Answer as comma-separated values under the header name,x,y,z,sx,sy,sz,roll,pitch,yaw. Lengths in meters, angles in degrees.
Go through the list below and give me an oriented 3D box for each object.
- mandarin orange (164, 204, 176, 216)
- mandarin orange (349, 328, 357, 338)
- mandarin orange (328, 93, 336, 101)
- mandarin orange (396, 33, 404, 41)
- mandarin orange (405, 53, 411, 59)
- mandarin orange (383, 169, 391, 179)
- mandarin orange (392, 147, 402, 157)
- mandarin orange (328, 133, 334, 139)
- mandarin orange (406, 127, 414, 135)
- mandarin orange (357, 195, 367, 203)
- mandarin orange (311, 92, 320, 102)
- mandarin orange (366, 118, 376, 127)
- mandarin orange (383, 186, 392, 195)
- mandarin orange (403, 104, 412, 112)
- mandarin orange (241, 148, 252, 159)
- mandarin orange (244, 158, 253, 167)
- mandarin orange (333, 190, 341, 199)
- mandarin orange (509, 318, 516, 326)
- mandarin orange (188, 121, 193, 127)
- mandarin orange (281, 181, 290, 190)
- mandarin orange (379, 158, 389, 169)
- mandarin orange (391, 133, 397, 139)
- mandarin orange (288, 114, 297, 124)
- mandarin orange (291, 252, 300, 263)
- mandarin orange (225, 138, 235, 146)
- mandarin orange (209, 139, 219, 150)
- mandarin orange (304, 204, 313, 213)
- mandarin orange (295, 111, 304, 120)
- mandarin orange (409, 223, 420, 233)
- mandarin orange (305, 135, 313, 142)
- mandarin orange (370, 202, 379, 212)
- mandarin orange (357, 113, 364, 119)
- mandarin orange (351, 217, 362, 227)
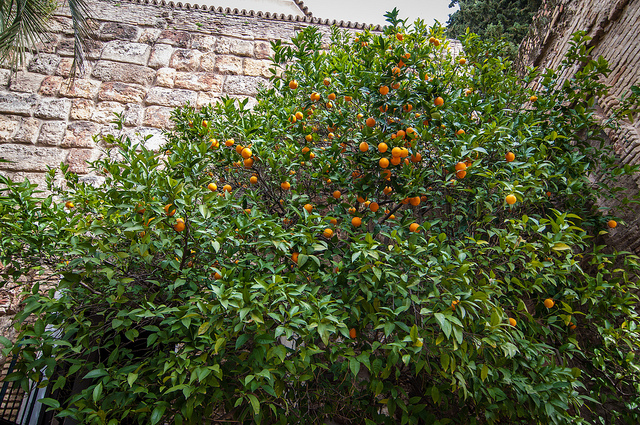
name,x,y,z,sx,sy,sz,roll,pitch,yaw
mandarin orange,-1.067,-0.018,2.708,0.087,0.088,0.032,-8,-13,26
mandarin orange,0.227,0.907,2.820,0.061,0.048,0.067,-3,10,-42
mandarin orange,0.111,-1.086,3.543,0.059,0.055,0.058,-8,11,-43
mandarin orange,0.735,-1.600,3.451,0.060,0.072,0.044,-24,25,7
mandarin orange,0.749,-1.335,3.214,0.052,0.047,0.052,3,6,14
mandarin orange,0.558,-0.314,3.125,0.052,0.063,0.071,-5,-12,11
mandarin orange,0.599,-0.472,2.961,0.081,0.087,0.078,1,7,-1
mandarin orange,0.098,-0.735,3.637,0.054,0.058,0.053,3,8,19
mandarin orange,0.729,-0.674,3.094,0.053,0.057,0.035,-4,-12,8
mandarin orange,0.356,-0.106,3.191,0.077,0.059,0.061,-7,-12,19
mandarin orange,-0.043,-1.088,3.532,0.078,0.092,0.081,-2,-12,-3
mandarin orange,0.420,-0.752,3.160,0.069,0.068,0.068,12,51,42
mandarin orange,0.579,-0.184,3.216,0.099,0.052,0.069,7,-15,-41
mandarin orange,0.747,-0.887,3.221,0.053,0.057,0.050,1,-1,23
mandarin orange,-0.597,-0.491,3.117,0.087,0.099,0.077,1,-12,-18
mandarin orange,-0.586,-0.417,3.156,0.061,0.057,0.067,-17,-34,-12
mandarin orange,0.143,-0.139,3.199,0.055,0.059,0.054,2,5,28
mandarin orange,1.427,0.822,2.808,0.053,0.060,0.053,-19,-16,28
mandarin orange,-1.361,-0.943,4.010,0.063,0.033,0.061,2,-13,-10
mandarin orange,-0.285,-0.225,3.241,0.065,0.073,0.064,-7,4,-29
mandarin orange,0.508,-0.392,3.005,0.071,0.077,0.069,4,2,-35
mandarin orange,0.602,-0.624,3.098,0.050,0.043,0.045,2,13,1
mandarin orange,-0.250,-0.870,3.504,0.077,0.083,0.045,-2,-12,-2
mandarin orange,-0.187,0.342,2.826,0.070,0.077,0.067,2,11,-3
mandarin orange,-0.789,-0.620,3.324,0.059,0.067,0.057,-10,44,-38
mandarin orange,-0.933,-0.616,3.408,0.075,0.072,0.086,-1,41,18
mandarin orange,-0.090,-0.034,3.060,0.057,0.063,0.055,-3,-4,10
mandarin orange,-0.188,-0.890,3.471,0.063,0.067,0.060,-3,3,4
mandarin orange,0.747,0.127,2.998,0.077,0.073,0.085,-5,-12,10
mandarin orange,-0.097,-0.672,3.422,0.052,0.048,0.052,-4,0,35
mandarin orange,0.436,-0.036,3.092,0.068,0.073,0.065,4,-18,-36
mandarin orange,0.359,-0.869,3.390,0.052,0.058,0.051,1,5,12
mandarin orange,0.290,0.080,3.069,0.068,0.075,0.067,18,-27,-42
